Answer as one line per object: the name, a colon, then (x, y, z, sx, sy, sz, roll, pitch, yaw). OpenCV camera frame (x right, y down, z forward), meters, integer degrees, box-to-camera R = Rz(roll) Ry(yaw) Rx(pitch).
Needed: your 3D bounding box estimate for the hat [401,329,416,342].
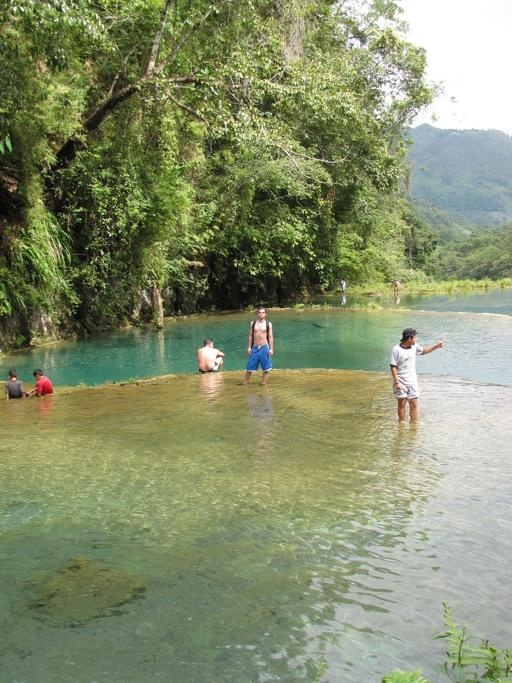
hat: (2.293, -0.113, 8.952, 0.238, 0.182, 0.181, 0, 36, -2)

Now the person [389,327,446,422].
person: (2.515, 0.524, 9.561, 0.631, 1.430, 1.641, -2, -1, 15)

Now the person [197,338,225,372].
person: (-1.133, 0.368, 14.657, 0.571, 0.828, 0.788, -2, 0, -2)

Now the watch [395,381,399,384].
watch: (2.127, 0.626, 8.944, 0.070, 0.049, 0.072, -2, -1, 8)
